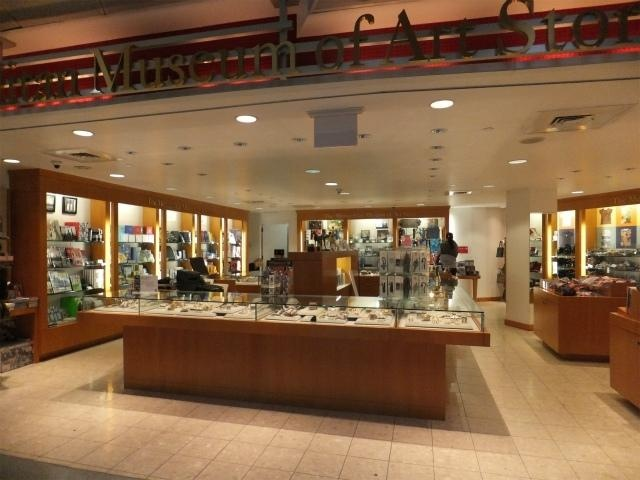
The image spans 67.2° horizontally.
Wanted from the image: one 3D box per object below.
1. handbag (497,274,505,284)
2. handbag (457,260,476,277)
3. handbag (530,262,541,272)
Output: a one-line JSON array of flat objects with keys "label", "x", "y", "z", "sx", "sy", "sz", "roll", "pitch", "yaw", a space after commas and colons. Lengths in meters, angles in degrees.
[{"label": "handbag", "x": 5.117, "y": 1.121, "z": 13.681, "sx": 0.226, "sy": 0.240, "sz": 0.228, "roll": 0, "pitch": -1, "yaw": -43}, {"label": "handbag", "x": 3.966, "y": 0.789, "z": 13.081, "sx": 0.430, "sy": 0.424, "sz": 0.419, "roll": 0, "pitch": -4, "yaw": 11}, {"label": "handbag", "x": 5.560, "y": 0.713, "z": 12.595, "sx": 0.268, "sy": 0.281, "sz": 0.330, "roll": -1, "pitch": -9, "yaw": 42}]
